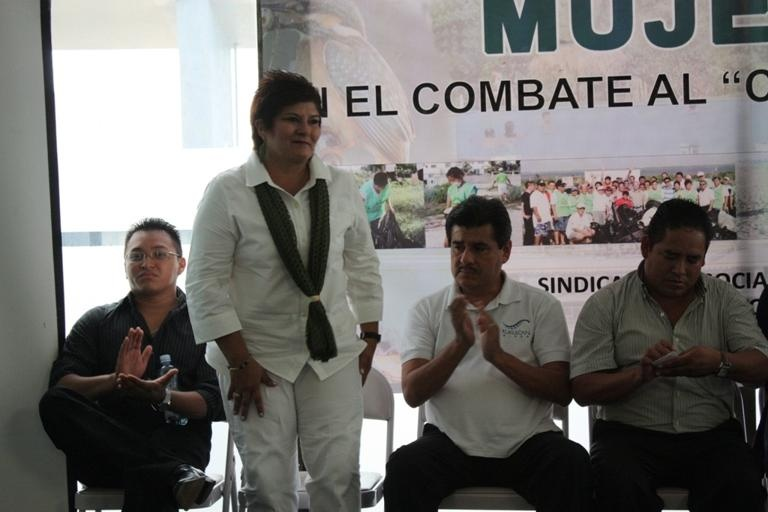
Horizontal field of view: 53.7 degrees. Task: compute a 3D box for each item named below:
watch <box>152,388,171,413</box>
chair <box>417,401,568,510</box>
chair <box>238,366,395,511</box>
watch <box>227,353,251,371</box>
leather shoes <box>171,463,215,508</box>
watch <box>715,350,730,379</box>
[{"bbox_3d":[-1.088,0.724,3.783,0.073,0.116,0.118,10,-20,14],"label":"watch"},{"bbox_3d":[0.590,0.894,3.778,0.764,0.515,0.425,0,4,3],"label":"chair"},{"bbox_3d":[-0.366,0.995,4.243,0.623,1.160,0.825,0,-12,6],"label":"chair"},{"bbox_3d":[-0.652,0.476,3.425,0.080,0.097,0.035,-7,34,-11],"label":"watch"},{"bbox_3d":[-0.892,1.084,3.657,0.096,0.133,0.227,-1,24,35],"label":"leather shoes"},{"bbox_3d":[1.601,0.509,3.586,0.064,0.105,0.104,8,-32,4],"label":"watch"}]
